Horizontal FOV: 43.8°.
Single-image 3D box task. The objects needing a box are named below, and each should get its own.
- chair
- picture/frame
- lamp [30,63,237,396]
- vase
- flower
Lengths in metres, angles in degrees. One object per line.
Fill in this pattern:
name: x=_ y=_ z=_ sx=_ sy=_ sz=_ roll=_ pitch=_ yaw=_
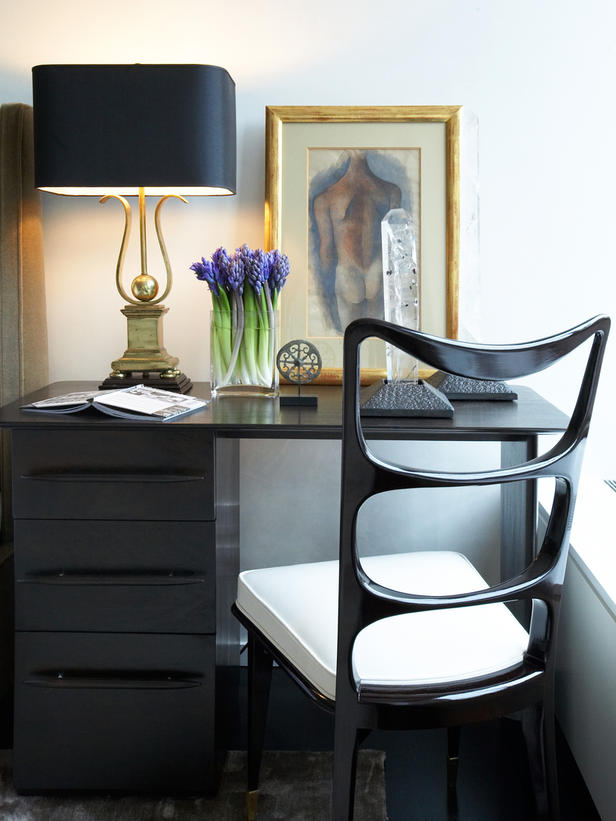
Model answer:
chair: x=0.111 y=0.297 z=1.085 sx=0.384 sy=0.870 sz=0.559 roll=-2 pitch=8 yaw=-16
picture/frame: x=0.119 y=-0.402 z=1.822 sx=0.420 sy=0.687 sz=0.037 roll=3 pitch=45 yaw=6
lamp: x=-0.356 y=-0.362 z=1.613 sx=0.406 sy=0.640 sz=0.301 roll=-1 pitch=8 yaw=-7
vase: x=-0.139 y=-0.059 z=1.578 sx=0.143 sy=0.190 sz=0.224 roll=-4 pitch=54 yaw=-2
flower: x=-0.132 y=-0.177 z=1.535 sx=0.159 sy=0.297 sz=0.180 roll=0 pitch=13 yaw=-28
